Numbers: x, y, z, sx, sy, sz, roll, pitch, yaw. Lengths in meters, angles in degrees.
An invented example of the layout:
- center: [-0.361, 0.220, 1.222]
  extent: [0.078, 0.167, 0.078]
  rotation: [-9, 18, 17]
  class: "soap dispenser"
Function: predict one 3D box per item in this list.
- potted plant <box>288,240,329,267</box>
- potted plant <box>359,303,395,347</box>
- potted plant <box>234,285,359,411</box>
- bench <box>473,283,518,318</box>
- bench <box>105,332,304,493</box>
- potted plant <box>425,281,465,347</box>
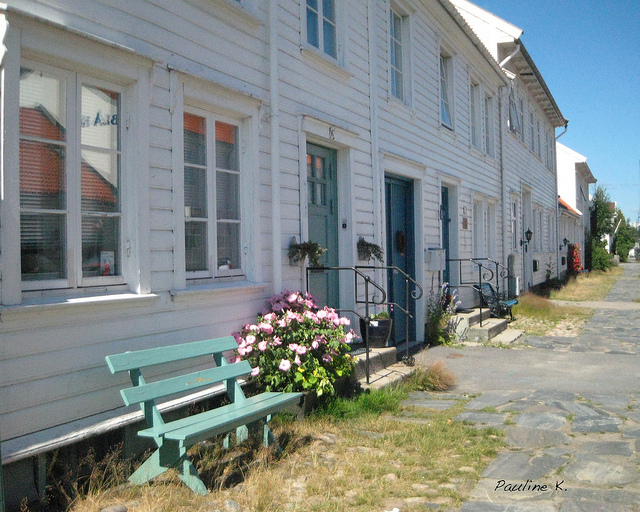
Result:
- center: [-0.129, -0.020, 6.567]
  extent: [0.340, 0.311, 0.555]
  rotation: [0, 2, 25]
  class: "potted plant"
- center: [0.707, 0.842, 7.033]
  extent: [0.384, 0.587, 0.445]
  rotation: [2, -3, 41]
  class: "potted plant"
- center: [-0.312, 0.887, 5.651]
  extent: [1.084, 1.105, 1.093]
  rotation: [16, 0, 43]
  class: "potted plant"
- center: [4.121, 0.937, 12.638]
  extent: [0.694, 0.766, 2.436]
  rotation: [0, 2, 22]
  class: "bench"
- center: [-1.041, 1.275, 4.769]
  extent: [1.100, 1.083, 1.565]
  rotation: [1, 3, 41]
  class: "bench"
- center: [2.333, 1.044, 10.167]
  extent: [0.781, 1.584, 1.010]
  rotation: [-1, -2, 29]
  class: "potted plant"
